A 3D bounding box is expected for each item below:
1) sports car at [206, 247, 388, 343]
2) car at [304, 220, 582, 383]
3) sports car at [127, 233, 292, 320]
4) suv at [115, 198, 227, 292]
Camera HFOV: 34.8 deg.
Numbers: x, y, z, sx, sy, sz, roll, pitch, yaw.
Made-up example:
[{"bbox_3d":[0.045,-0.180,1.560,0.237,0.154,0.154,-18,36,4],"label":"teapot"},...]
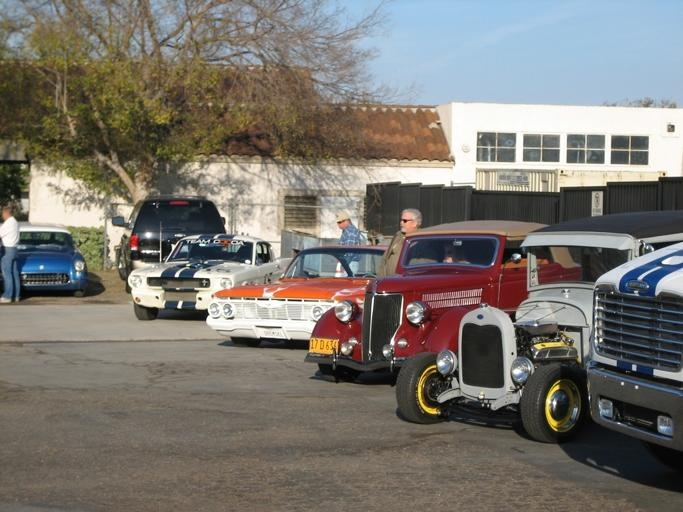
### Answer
[{"bbox_3d":[-0.449,0.629,17.808,1.552,0.934,2.575,-1,-1,38],"label":"sports car"},{"bbox_3d":[1.609,0.506,15.496,3.538,1.616,1.854,-4,1,-41],"label":"car"},{"bbox_3d":[-2.550,0.382,20.395,1.513,1.011,2.598,-1,0,22],"label":"sports car"},{"bbox_3d":[-3.911,-0.466,24.367,1.710,1.290,2.684,-1,8,-10],"label":"suv"}]
